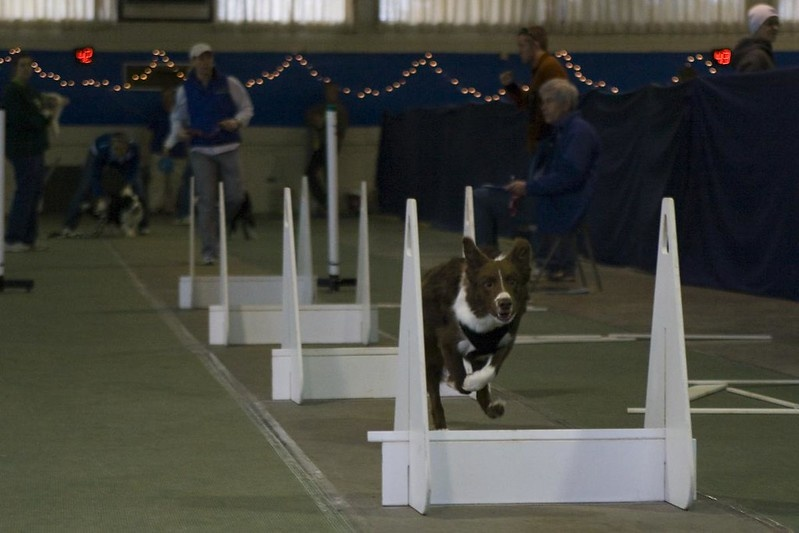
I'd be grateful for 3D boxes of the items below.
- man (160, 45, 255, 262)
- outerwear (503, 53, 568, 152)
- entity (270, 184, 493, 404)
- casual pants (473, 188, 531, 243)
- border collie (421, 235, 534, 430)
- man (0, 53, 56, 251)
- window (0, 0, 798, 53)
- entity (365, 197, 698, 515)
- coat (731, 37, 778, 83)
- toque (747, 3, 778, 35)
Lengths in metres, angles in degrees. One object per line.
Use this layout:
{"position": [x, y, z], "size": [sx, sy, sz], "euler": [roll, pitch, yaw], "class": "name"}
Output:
{"position": [-1.496, -0.870, 11.168], "size": [0.716, 1.759, 0.718], "euler": [-4, 2, -4], "class": "man"}
{"position": [1.024, -1.236, 10.703], "size": [0.506, 1.029, 0.652], "euler": [-1, 11, 4], "class": "outerwear"}
{"position": [-0.129, 0.195, 9.760], "size": [1.422, 1.506, 0.597], "euler": [1, 3, -6], "class": "entity"}
{"position": [0.763, -0.397, 11.425], "size": [0.340, 0.506, 0.163], "euler": [2, 11, 5], "class": "casual pants"}
{"position": [0.412, 0.438, 8.376], "size": [0.497, 1.019, 1.454], "euler": [-2, -8, -14], "class": "border collie"}
{"position": [-2.797, -0.906, 10.624], "size": [0.477, 1.518, 0.479], "euler": [-6, 40, -26], "class": "man"}
{"position": [-0.051, -1.527, 9.222], "size": [4.965, 0.421, 1.215], "euler": [0, 15, -6], "class": "window"}
{"position": [0.840, 0.586, 8.986], "size": [1.706, 1.679, 0.839], "euler": [0, -4, -6], "class": "entity"}
{"position": [2.579, -1.535, 10.416], "size": [0.347, 0.337, 0.196], "euler": [15, 33, 39], "class": "coat"}
{"position": [2.560, -1.745, 10.078], "size": [0.165, 0.214, 0.225], "euler": [2, 16, 11], "class": "toque"}
